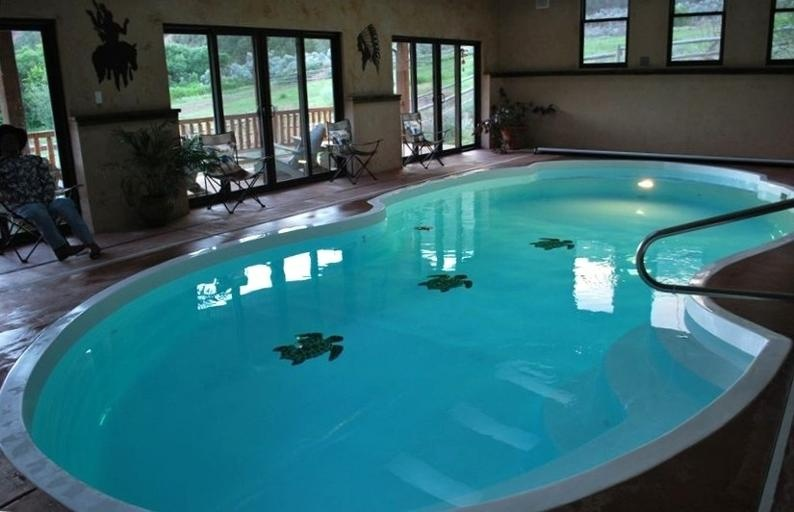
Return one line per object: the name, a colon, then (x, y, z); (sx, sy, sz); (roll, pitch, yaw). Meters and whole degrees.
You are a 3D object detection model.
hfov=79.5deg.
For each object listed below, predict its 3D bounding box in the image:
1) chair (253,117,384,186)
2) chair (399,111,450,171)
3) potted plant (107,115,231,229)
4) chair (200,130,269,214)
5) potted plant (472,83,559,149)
chair: (-1.685, -2.250, 10.508); (1.947, 1.050, 1.271); (21, 31, 33)
chair: (0.623, -2.868, 11.832); (0.895, 1.246, 0.921); (13, 22, 39)
potted plant: (-3.788, -1.332, 7.709); (1.301, 1.593, 0.690); (-16, 22, -33)
chair: (-3.047, -1.545, 8.787); (1.077, 1.457, 1.237); (23, 30, 37)
potted plant: (3.407, -3.850, 14.395); (2.155, 1.308, 1.303); (-9, 4, -18)
